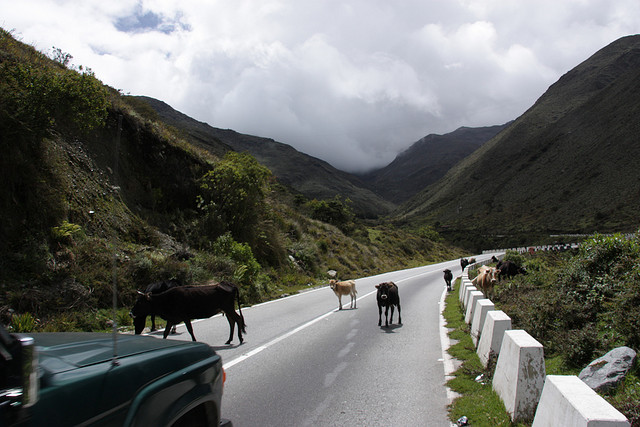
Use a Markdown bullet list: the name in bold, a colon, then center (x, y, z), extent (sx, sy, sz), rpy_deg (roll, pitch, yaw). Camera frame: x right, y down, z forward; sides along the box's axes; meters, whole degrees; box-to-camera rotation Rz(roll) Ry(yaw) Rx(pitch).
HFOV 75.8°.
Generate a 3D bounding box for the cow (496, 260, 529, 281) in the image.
- **cow**: center (11.063, 3.292, 23.839), extent (1.430, 1.019, 2.623), rpy_deg (2, 0, 39)

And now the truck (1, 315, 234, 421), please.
- **truck**: center (-2.837, 2.294, 5.964), extent (2.684, 1.361, 1.764), rpy_deg (24, -19, -24)

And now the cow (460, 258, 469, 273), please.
- **cow**: center (14.230, 5.165, 40.519), extent (0.874, 1.908, 3.492), rpy_deg (-3, -12, 21)

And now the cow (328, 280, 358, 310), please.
- **cow**: center (1.091, 3.624, 18.670), extent (1.753, 1.382, 0.645), rpy_deg (5, -10, -38)

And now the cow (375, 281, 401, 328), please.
- **cow**: center (2.339, 3.209, 15.032), extent (0.522, 1.292, 2.033), rpy_deg (-2, -14, 9)

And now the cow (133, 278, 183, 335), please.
- **cow**: center (-4.144, 2.655, 10.931), extent (1.764, 1.063, 0.558), rpy_deg (-9, -22, 20)

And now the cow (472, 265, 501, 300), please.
- **cow**: center (7.861, 3.312, 19.454), extent (0.703, 1.523, 2.662), rpy_deg (0, -7, 9)

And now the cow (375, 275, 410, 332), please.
- **cow**: center (2.520, 3.310, 15.323), extent (0.522, 1.310, 2.212), rpy_deg (-8, 0, 20)

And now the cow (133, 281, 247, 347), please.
- **cow**: center (-3.538, 2.842, 11.417), extent (3.017, 1.886, 1.001), rpy_deg (1, -1, -23)
